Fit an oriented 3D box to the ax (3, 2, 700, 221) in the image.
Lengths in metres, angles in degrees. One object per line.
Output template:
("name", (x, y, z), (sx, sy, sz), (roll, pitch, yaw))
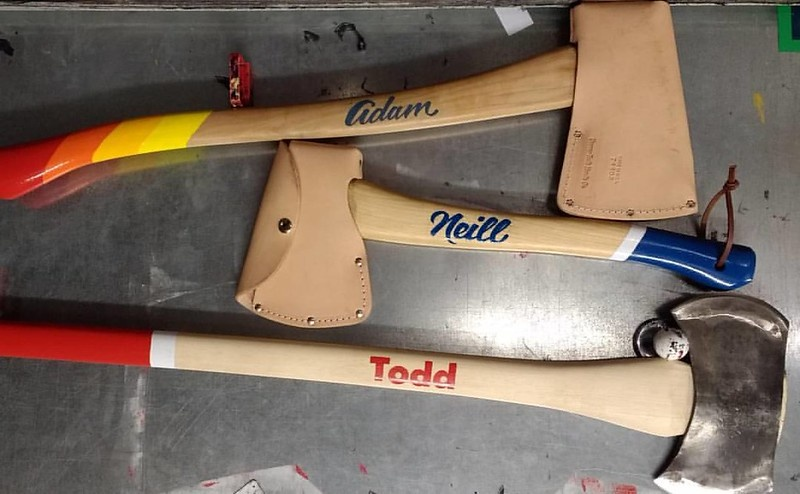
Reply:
("ax", (-0.146, -0.459, 4.169), (2.801, 0.218, 0.955), (-4, 95, 4))
